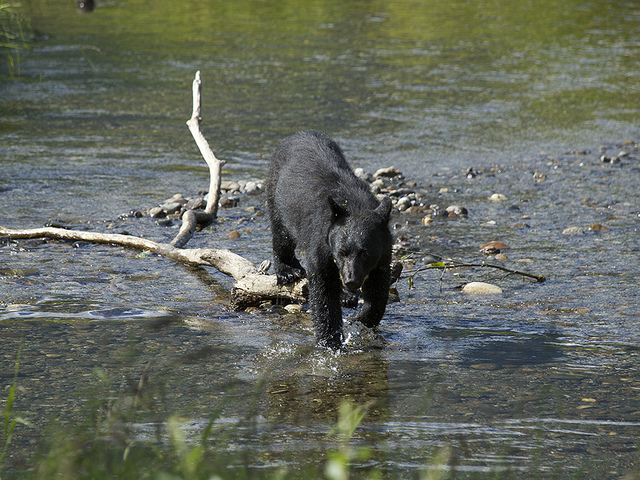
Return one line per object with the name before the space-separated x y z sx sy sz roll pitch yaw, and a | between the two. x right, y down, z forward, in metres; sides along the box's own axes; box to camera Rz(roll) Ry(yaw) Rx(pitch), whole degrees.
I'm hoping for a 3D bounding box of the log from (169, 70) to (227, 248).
log | -2.084 -1.272 17.182 0.975 2.759 0.906 17 24 31
